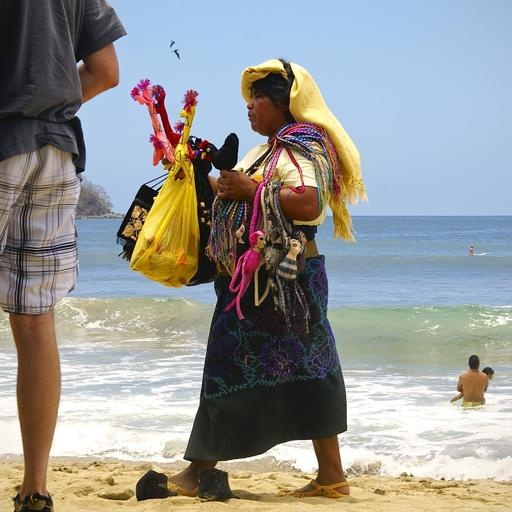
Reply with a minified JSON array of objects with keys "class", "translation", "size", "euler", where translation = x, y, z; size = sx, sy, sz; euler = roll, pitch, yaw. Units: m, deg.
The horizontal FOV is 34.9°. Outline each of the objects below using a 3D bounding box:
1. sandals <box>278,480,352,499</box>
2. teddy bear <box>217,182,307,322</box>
[{"class":"sandals","translation":[0.294,1.112,3.911],"size":[0.280,0.067,0.108],"euler":[0,-11,15]},{"class":"teddy bear","translation":[-0.004,-0.021,3.759],"size":[0.457,0.597,0.241],"euler":[-5,-1,5]}]
